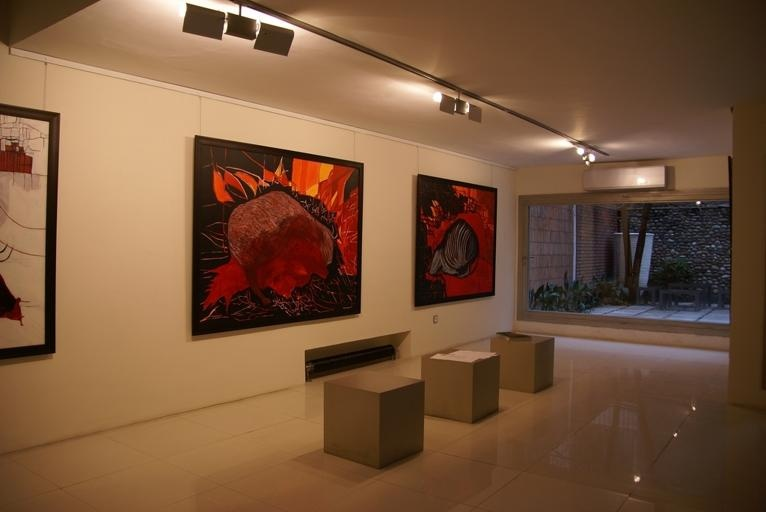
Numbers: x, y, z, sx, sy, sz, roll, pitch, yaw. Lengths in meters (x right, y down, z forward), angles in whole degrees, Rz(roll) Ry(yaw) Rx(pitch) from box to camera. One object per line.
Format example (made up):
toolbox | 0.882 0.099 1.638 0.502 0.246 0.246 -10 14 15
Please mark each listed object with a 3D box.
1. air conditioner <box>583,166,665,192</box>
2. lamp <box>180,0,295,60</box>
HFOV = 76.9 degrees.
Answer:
air conditioner | 4.728 -1.525 9.413 1.462 0.445 0.215 5 7 33
lamp | -1.224 -1.911 4.109 0.893 0.286 0.188 -2 6 -22
